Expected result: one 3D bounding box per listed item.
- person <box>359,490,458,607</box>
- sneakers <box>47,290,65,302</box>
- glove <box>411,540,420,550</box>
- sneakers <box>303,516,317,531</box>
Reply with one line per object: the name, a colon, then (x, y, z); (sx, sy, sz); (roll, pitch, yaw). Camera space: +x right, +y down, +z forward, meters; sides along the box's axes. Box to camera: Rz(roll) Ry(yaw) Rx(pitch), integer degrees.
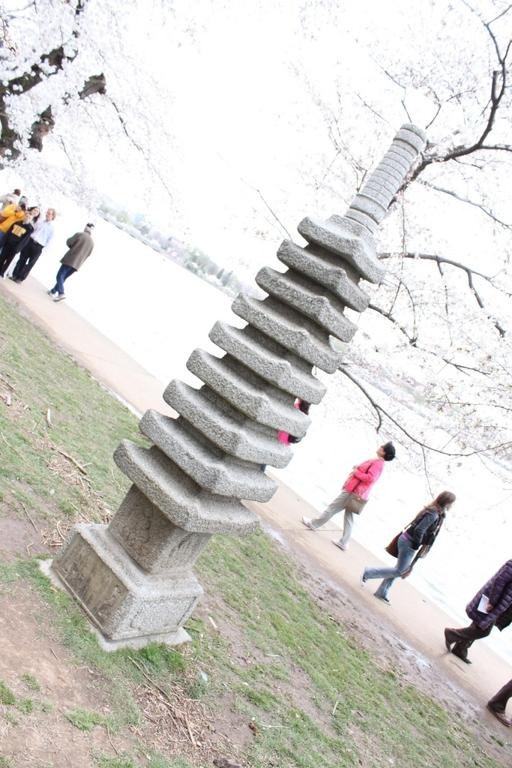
person: (1.725, 1.838, 7.648); (0.428, 1.353, 0.986); (36, -7, 18)
sneakers: (-3.720, -1.655, 12.512); (0.172, 0.200, 0.492); (7, 17, -40)
glove: (1.786, 1.822, 7.494); (0.057, 0.086, 0.143); (29, -8, 48)
sneakers: (0.706, 1.875, 8.965); (0.086, 0.095, 0.232); (11, 12, -26)
